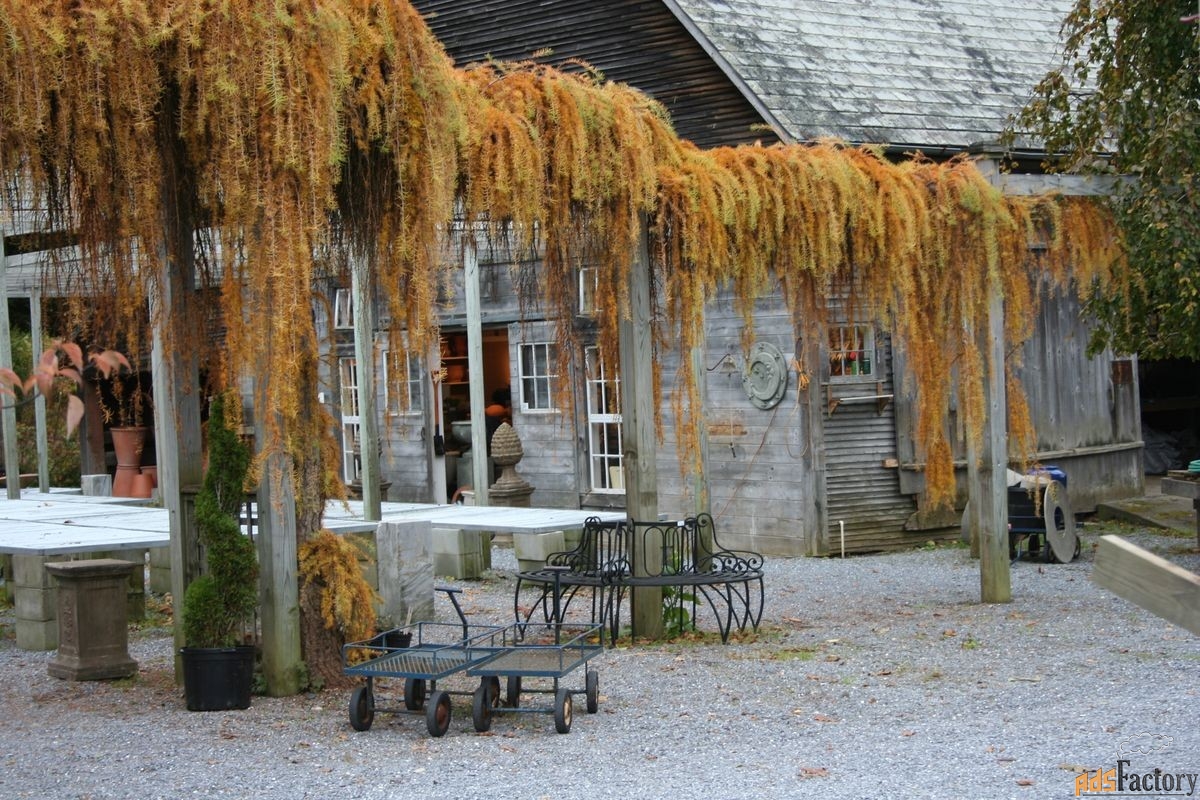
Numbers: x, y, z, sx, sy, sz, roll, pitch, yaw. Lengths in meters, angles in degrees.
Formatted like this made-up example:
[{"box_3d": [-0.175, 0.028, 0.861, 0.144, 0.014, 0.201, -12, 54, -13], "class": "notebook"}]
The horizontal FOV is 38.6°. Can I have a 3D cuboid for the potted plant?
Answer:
[{"box_3d": [-2.933, 1.188, 13.275, 0.580, 2.427, 0.318, -2, -3, -16], "class": "potted plant"}]
